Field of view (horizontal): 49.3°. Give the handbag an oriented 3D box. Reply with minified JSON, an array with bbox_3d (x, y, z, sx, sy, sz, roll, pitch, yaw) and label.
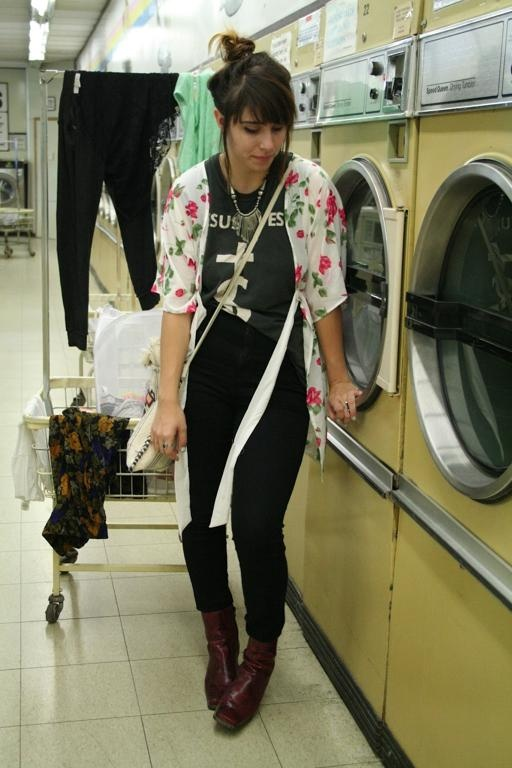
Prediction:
[{"bbox_3d":[-0.265,0.104,1.343,0.049,0.185,0.105,21,-22,-13],"label":"handbag"}]

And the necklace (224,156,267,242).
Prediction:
[{"bbox_3d":[-0.027,-0.382,1.180,0.081,0.171,0.037,2,5,-7],"label":"necklace"}]
